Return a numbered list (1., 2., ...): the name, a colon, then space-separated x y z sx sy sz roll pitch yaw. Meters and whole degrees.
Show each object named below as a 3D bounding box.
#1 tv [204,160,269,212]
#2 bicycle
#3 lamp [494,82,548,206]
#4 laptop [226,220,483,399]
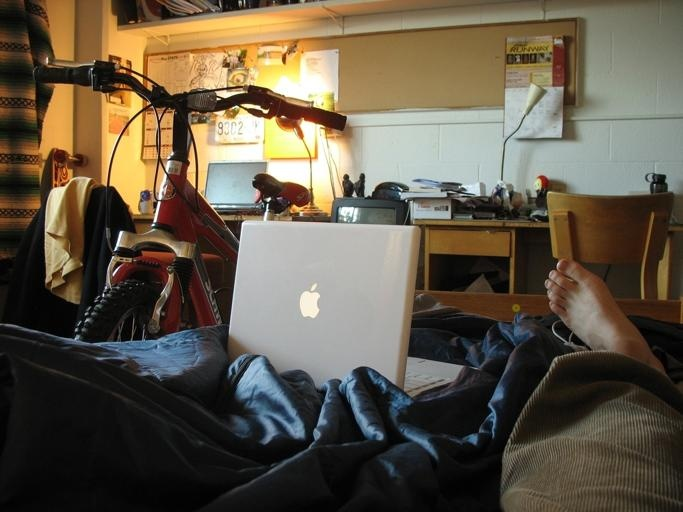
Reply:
1. tv: -0.603 -0.396 3.035 0.422 0.309 0.281 1 -1 11
2. bicycle: -0.472 -0.189 1.721 0.669 0.718 1.073 7 12 23
3. lamp: 1.040 -0.673 3.058 0.230 0.643 0.188 4 7 20
4. laptop: 0.028 0.064 1.123 0.401 0.304 0.342 6 6 32
